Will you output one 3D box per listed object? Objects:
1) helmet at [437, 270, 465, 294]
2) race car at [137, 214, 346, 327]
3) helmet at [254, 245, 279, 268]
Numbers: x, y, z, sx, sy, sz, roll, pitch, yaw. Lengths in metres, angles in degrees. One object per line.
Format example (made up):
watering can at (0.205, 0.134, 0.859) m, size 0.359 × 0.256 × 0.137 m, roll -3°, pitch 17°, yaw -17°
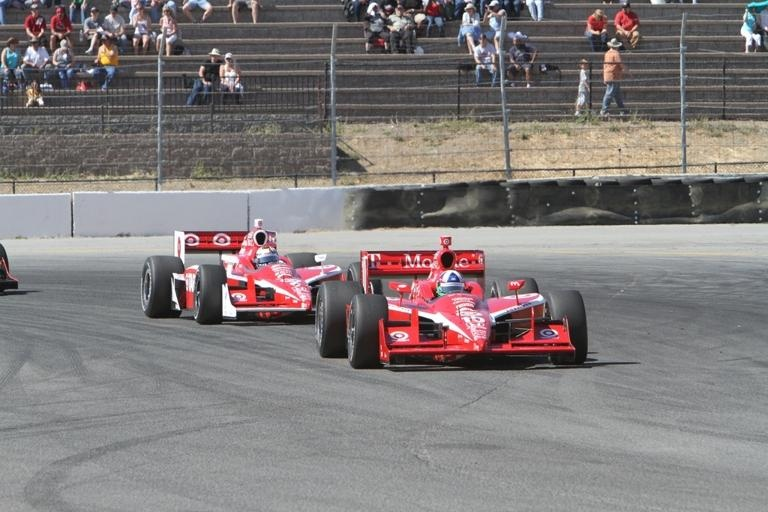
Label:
helmet at (0.811, 0.358, 17.520) m, size 0.260 × 0.319 × 0.329 m, roll 2°, pitch -20°, yaw -11°
race car at (-2.225, 0.327, 19.410) m, size 2.137 × 1.788 × 5.056 m, roll 2°, pitch 0°, yaw -31°
helmet at (-1.707, 0.029, 19.487) m, size 0.272 × 0.288 × 0.303 m, roll 2°, pitch -28°, yaw -24°
